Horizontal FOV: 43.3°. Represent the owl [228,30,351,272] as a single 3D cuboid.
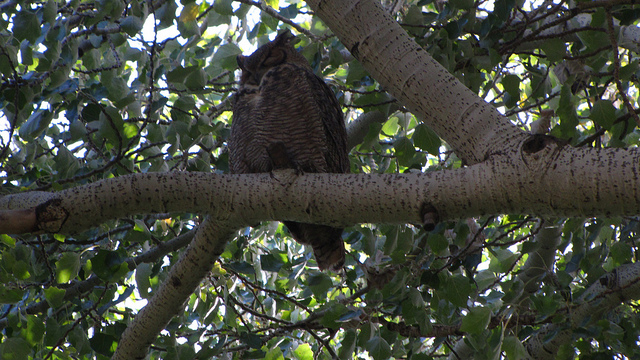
[{"bbox_3d":[-0.245,-0.602,6.885,0.979,1.482,0.765,4,-54,5],"label":"owl"}]
